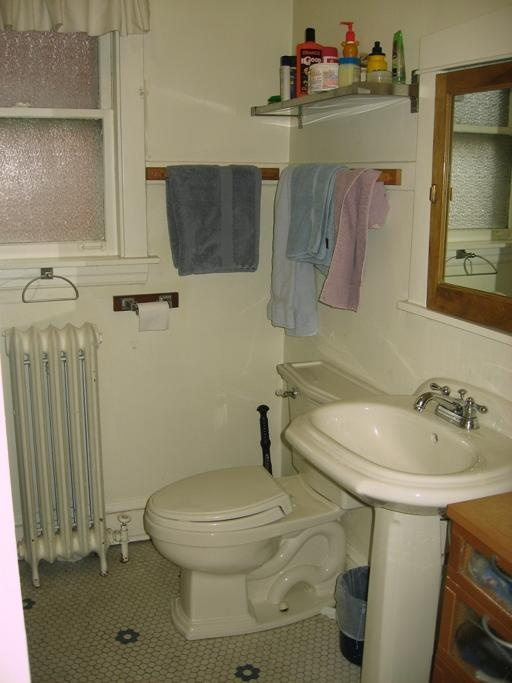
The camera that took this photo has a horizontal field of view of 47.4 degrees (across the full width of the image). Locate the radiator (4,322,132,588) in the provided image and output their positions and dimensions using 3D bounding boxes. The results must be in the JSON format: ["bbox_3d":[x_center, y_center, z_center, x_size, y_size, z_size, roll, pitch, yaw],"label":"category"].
[{"bbox_3d":[-0.732,0.433,2.178,0.337,0.987,0.176,-5,14,-19],"label":"radiator"}]

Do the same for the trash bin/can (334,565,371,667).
[{"bbox_3d":[0.301,0.883,1.856,0.097,0.278,0.225,3,14,11],"label":"trash bin/can"}]

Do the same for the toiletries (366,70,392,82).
[{"bbox_3d":[0.343,-0.732,1.619,0.050,0.030,0.049,-25,42,-28],"label":"toiletries"}]

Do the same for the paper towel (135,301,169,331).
[{"bbox_3d":[-0.400,-0.090,2.305,0.121,0.136,0.133,-2,14,-8],"label":"paper towel"}]

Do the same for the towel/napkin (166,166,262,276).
[{"bbox_3d":[-0.144,-0.463,2.239,0.393,0.428,0.107,-8,20,-26],"label":"towel/napkin"}]

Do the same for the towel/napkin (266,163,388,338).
[{"bbox_3d":[0.250,-0.301,1.957,0.181,0.607,0.531,-5,18,-26],"label":"towel/napkin"}]

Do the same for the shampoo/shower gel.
[{"bbox_3d":[0.273,-0.856,1.899,0.253,0.317,0.459,7,16,31],"label":"shampoo/shower gel"}]

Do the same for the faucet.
[{"bbox_3d":[0.480,0.167,1.488,0.153,0.077,0.230,-3,12,-15],"label":"faucet"}]

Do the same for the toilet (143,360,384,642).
[{"bbox_3d":[0.021,0.550,2.053,0.785,0.874,0.536,-4,16,-24],"label":"toilet"}]
